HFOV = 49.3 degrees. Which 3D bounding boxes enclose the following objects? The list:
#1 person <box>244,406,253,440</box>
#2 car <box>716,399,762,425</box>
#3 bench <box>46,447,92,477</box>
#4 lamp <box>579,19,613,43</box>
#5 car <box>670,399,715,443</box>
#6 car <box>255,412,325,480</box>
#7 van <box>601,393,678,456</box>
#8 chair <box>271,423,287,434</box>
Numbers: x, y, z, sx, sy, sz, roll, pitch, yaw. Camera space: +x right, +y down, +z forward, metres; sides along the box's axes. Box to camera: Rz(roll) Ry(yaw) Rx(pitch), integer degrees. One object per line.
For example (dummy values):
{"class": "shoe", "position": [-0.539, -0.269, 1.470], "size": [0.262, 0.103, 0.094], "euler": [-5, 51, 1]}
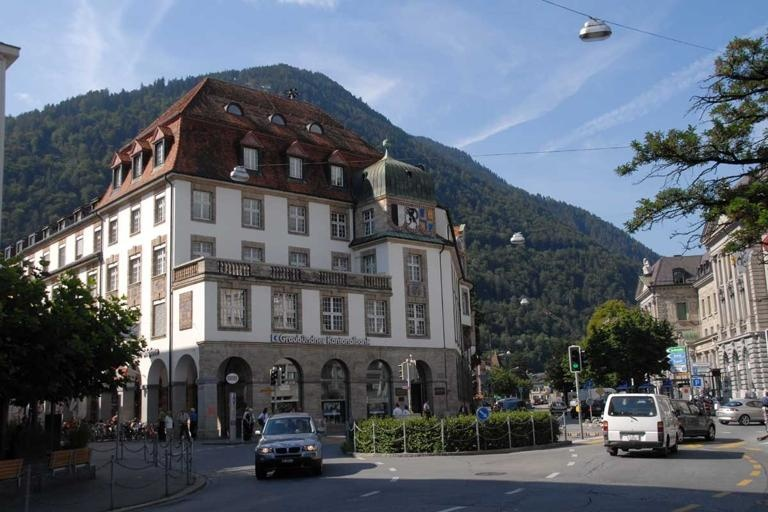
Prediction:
{"class": "person", "position": [-8.050, 9.924, 49.286], "size": [0.653, 1.663, 1.112], "euler": [7, 2, -7]}
{"class": "car", "position": [26.051, 11.399, 60.514], "size": [3.126, 1.977, 1.558], "euler": [7, 2, -16]}
{"class": "bench", "position": [-13.272, 8.711, 35.183], "size": [0.570, 0.726, 1.415], "euler": [-11, -14, 20]}
{"class": "lamp", "position": [8.599, -9.213, 34.088], "size": [1.074, 1.002, 1.773], "euler": [8, 2, 15]}
{"class": "car", "position": [15.690, 8.648, 43.421], "size": [3.437, 1.781, 1.676], "euler": [2, -18, -26]}
{"class": "car", "position": [-3.934, 8.054, 34.497], "size": [2.612, 2.317, 2.679], "euler": [7, 2, -7]}
{"class": "van", "position": [11.521, 7.378, 37.453], "size": [2.111, 1.962, 3.768], "euler": [-3, -6, 23]}
{"class": "chair", "position": [-4.433, 7.243, 35.227], "size": [0.614, 0.371, 0.668], "euler": [-6, 4, -35]}
